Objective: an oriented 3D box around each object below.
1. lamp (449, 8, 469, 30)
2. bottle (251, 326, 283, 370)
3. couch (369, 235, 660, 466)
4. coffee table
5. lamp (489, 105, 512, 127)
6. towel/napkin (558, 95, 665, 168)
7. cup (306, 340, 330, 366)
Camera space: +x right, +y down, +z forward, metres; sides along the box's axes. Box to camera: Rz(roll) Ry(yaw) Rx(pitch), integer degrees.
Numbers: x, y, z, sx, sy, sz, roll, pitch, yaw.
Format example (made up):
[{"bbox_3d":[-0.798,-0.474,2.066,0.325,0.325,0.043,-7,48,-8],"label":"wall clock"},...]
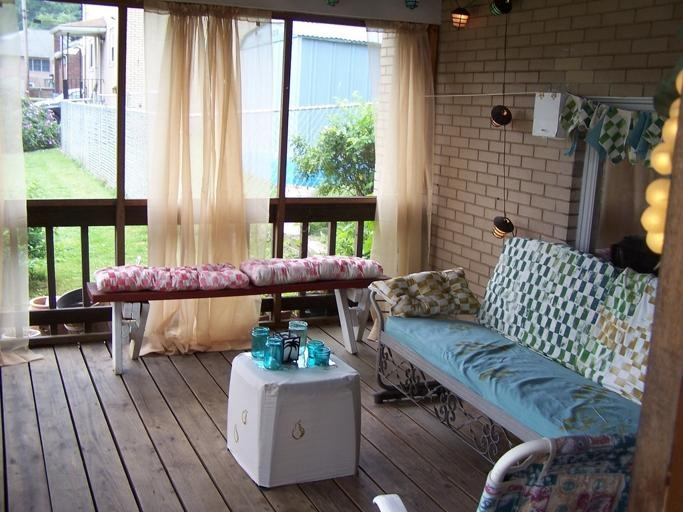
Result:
[{"bbox_3d":[1.035,-2.084,4.478,0.133,0.207,0.310,6,14,16],"label":"lamp"},{"bbox_3d":[-0.426,0.519,2.940,0.132,0.235,0.237,-1,7,-25],"label":"bottle"},{"bbox_3d":[1.072,0.608,3.259,1.037,1.272,1.796,-5,16,-30],"label":"couch"},{"bbox_3d":[-0.283,0.888,3.104,0.740,0.601,0.756,-3,10,-43],"label":"coffee table"},{"bbox_3d":[1.297,-1.141,4.188,0.162,0.171,0.237,7,14,17],"label":"lamp"},{"bbox_3d":[1.763,-0.838,3.360,0.251,0.437,0.705,-4,15,-26],"label":"towel/napkin"},{"bbox_3d":[-0.137,0.566,3.045,0.139,0.158,0.094,2,6,-11],"label":"cup"}]
